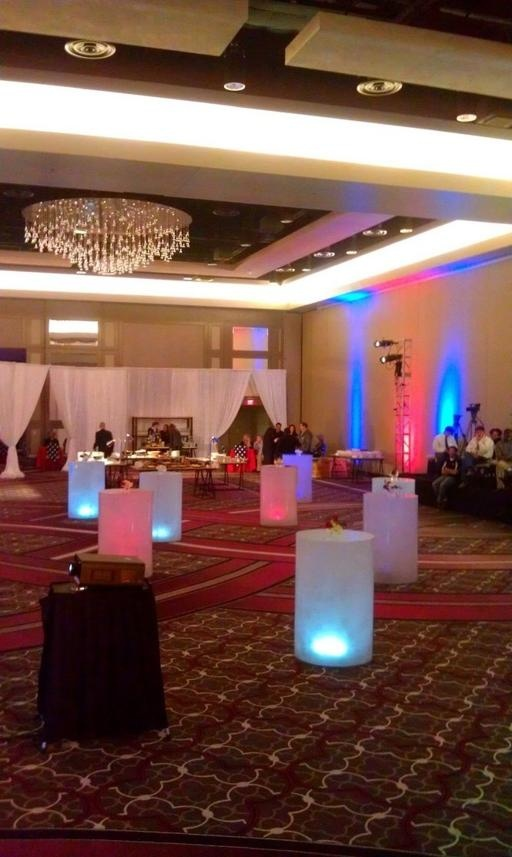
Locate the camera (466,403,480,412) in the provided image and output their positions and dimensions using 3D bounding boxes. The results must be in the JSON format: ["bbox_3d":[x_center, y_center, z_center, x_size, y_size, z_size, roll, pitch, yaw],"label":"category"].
[{"bbox_3d":[4.063,-0.410,11.316,0.160,0.117,0.212,0,7,17],"label":"camera"}]

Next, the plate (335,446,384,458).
[{"bbox_3d":[2.521,0.592,14.715,1.027,0.186,0.440,1,-2,9],"label":"plate"}]

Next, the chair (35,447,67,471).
[{"bbox_3d":[-5.518,0.761,16.441,0.613,0.638,0.637,0,4,-11],"label":"chair"}]

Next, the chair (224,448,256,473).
[{"bbox_3d":[-0.317,0.840,16.755,0.654,0.599,0.692,0,-1,-4],"label":"chair"}]
